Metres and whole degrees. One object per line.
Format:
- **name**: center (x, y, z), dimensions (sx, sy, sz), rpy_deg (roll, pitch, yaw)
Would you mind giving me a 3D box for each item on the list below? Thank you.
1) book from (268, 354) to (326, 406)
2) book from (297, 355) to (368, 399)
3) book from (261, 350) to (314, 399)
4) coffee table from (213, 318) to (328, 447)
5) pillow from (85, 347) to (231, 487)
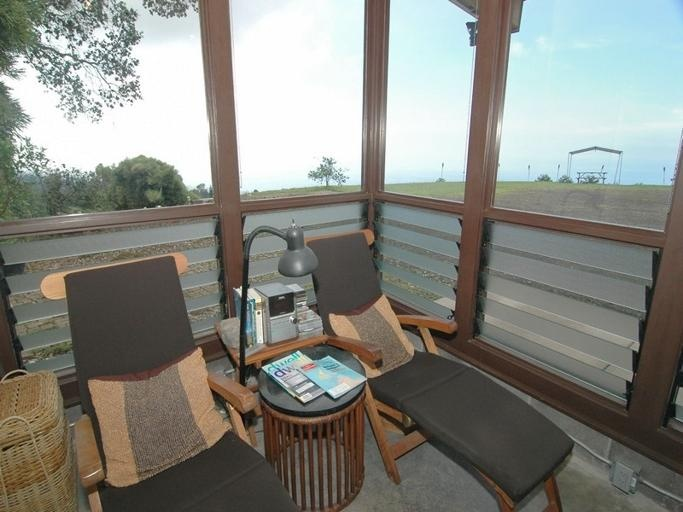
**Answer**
- **book**: center (-0.262, 0.723, 2.520), dimensions (0.183, 0.028, 0.258), rpy_deg (-18, 33, -37)
- **book**: center (-0.062, 0.710, 2.508), dimensions (0.182, 0.024, 0.224), rpy_deg (-17, 26, -37)
- **book**: center (-0.292, 0.694, 2.555), dimensions (0.167, 0.026, 0.234), rpy_deg (-22, 33, -35)
- **coffee table**: center (-0.490, 0.872, 3.302), dimensions (0.755, 0.721, 0.719), rpy_deg (-10, 16, -34)
- **pillow**: center (-0.989, 0.862, 2.378), dimensions (0.623, 0.394, 0.507), rpy_deg (-13, 19, -29)
